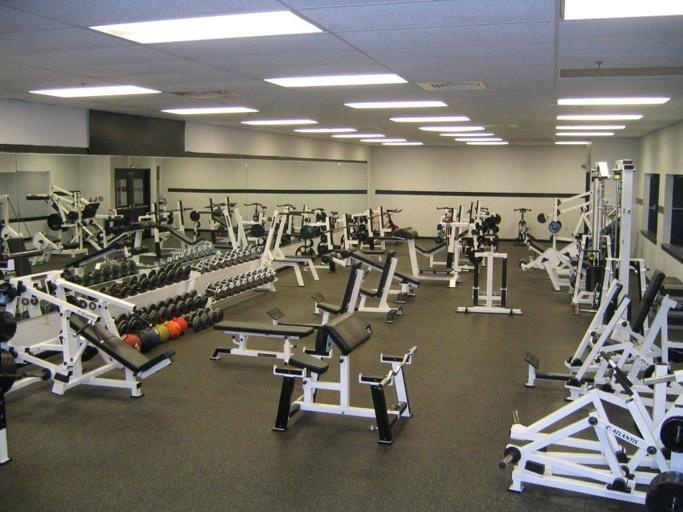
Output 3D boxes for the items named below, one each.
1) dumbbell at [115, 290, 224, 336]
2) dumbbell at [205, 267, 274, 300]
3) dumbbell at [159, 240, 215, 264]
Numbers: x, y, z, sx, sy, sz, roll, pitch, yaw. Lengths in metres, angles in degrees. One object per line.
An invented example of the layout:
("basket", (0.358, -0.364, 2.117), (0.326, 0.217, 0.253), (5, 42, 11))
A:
("dumbbell", (-2.036, 0.760, 6.453), (0.505, 0.416, 1.504), (4, 11, 21))
("dumbbell", (-1.477, 0.422, 7.701), (0.649, 0.423, 1.072), (8, 11, 35))
("dumbbell", (-2.335, -0.055, 8.290), (0.181, 0.113, 0.793), (25, 20, 15))
